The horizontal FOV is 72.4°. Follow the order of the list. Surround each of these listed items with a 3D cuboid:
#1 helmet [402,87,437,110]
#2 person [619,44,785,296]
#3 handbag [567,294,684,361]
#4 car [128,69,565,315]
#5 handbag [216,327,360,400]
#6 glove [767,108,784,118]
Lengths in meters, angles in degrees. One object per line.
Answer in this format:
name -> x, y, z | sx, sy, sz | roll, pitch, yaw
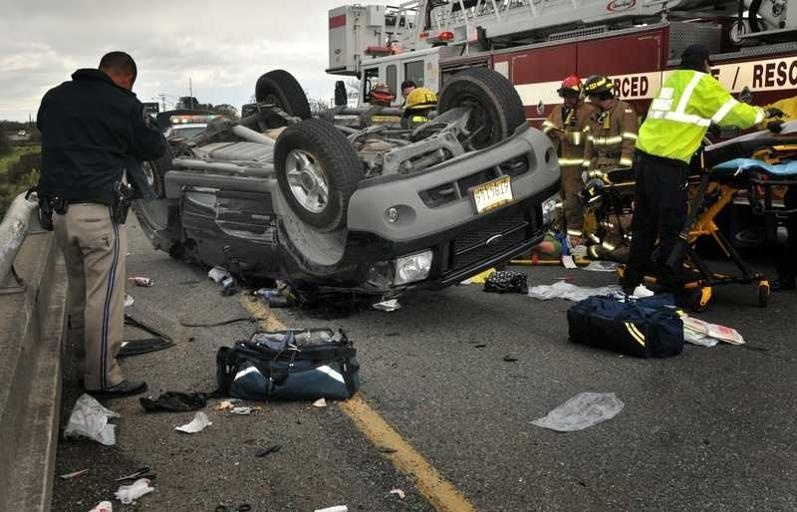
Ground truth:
helmet -> 0.231, -2.091, 7.372 | 0.461, 0.222, 0.328 | -4, 8, 42
person -> 3.083, -0.929, 6.149 | 1.219, 2.640, 0.957 | -9, 22, -7
handbag -> 2.123, 0.655, 5.140 | 0.620, 0.301, 0.756 | -5, 6, -43
car -> -1.051, -0.501, 7.141 | 5.278, 1.801, 3.300 | 10, 28, 39
handbag -> -0.895, 0.925, 4.558 | 0.802, 0.306, 0.763 | 1, -1, 0
glove -> 3.938, -1.466, 5.711 | 0.131, 0.082, 0.182 | 2, 11, 40
